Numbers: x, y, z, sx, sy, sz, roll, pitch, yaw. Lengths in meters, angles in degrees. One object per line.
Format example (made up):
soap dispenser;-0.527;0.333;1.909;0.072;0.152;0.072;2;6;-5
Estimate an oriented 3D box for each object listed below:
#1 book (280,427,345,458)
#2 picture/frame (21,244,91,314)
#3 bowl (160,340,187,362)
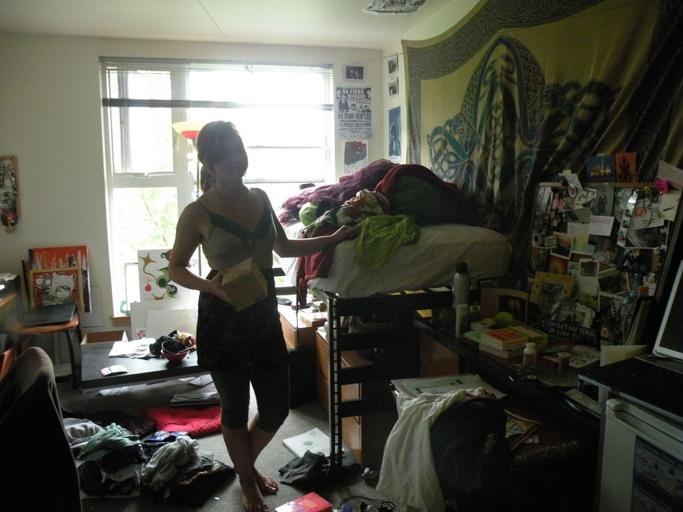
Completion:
book;-0.168;1.093;3.154;0.216;0.063;0.222;-4;10;-35
picture/frame;-2.427;0.194;4.506;0.531;0.715;0.050;-4;-4;-22
bowl;-1.148;0.637;3.652;0.139;0.082;0.141;22;5;-2
